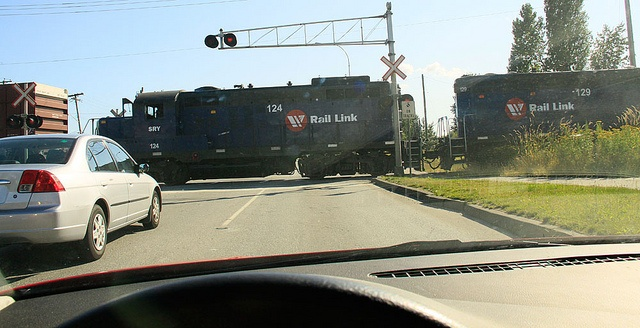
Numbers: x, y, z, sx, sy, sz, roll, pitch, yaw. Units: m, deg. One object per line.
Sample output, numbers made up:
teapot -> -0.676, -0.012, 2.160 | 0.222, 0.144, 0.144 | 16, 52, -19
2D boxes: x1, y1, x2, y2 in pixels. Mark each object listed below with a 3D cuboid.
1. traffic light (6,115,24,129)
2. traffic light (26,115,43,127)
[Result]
traffic light -> -12.065, -1.701, 18.114 | 0.668, 0.545, 0.385 | 3, 8, 27
traffic light -> -11.566, -1.763, 18.480 | 0.534, 0.506, 0.363 | -5, 9, -32
